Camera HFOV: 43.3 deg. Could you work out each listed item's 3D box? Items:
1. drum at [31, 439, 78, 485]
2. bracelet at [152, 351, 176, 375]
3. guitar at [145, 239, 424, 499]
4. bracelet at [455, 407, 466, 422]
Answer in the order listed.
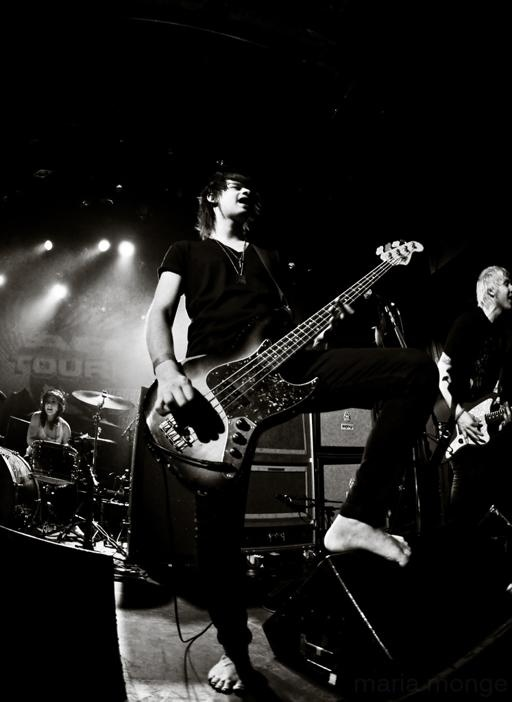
[{"bbox_3d":[-1.261,0.699,4.023,0.297,0.214,0.272,18,-20,7],"label":"drum"},{"bbox_3d":[-0.315,0.035,2.281,0.073,0.039,0.117,11,27,22],"label":"bracelet"},{"bbox_3d":[0.135,0.034,2.587,0.566,0.191,1.584,42,63,12],"label":"guitar"},{"bbox_3d":[1.028,0.332,3.241,0.042,0.012,0.082,15,46,-17],"label":"bracelet"}]
